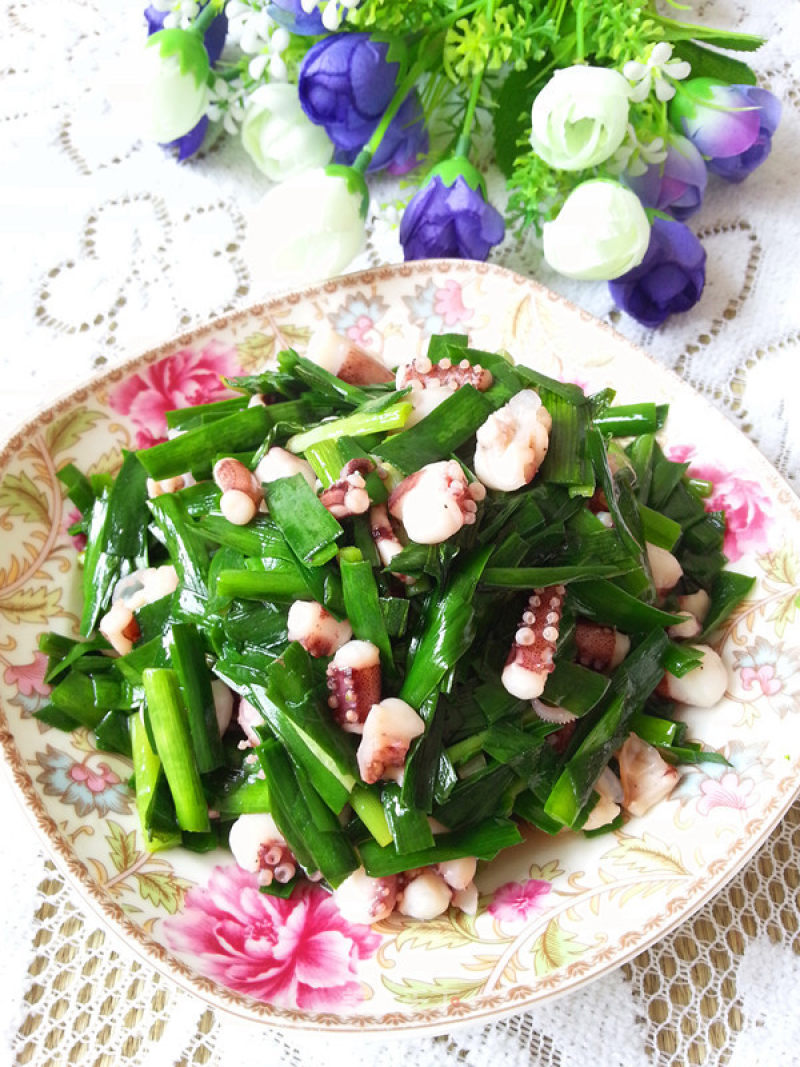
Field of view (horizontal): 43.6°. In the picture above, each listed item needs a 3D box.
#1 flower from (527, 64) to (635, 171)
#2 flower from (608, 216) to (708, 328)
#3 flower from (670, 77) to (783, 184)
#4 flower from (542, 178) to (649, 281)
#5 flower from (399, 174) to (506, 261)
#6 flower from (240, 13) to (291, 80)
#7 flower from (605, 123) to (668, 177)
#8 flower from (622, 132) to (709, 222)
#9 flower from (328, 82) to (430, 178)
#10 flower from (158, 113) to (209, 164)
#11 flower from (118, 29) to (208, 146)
[{"bbox_3d":[0.253,-0.591,1.424,0.146,0.157,0.100,1,38,4],"label":"flower"},{"bbox_3d":[0.435,-0.423,1.625,0.176,0.170,0.090,-3,18,7],"label":"flower"},{"bbox_3d":[0.516,-0.681,1.645,0.212,0.154,0.093,27,96,-3],"label":"flower"},{"bbox_3d":[0.302,-0.481,1.504,0.156,0.114,0.119,-21,43,-31],"label":"flower"},{"bbox_3d":[0.073,-0.485,1.561,0.154,0.170,0.139,-5,15,-12],"label":"flower"},{"bbox_3d":[-0.216,-0.795,1.619,0.095,0.099,0.024,-14,77,44],"label":"flower"},{"bbox_3d":[0.368,-0.611,1.587,0.078,0.071,0.025,-28,53,13],"label":"flower"},{"bbox_3d":[0.469,-0.592,1.692,0.132,0.145,0.087,-4,82,-4],"label":"flower"},{"bbox_3d":[-0.025,-0.709,1.696,0.234,0.180,0.078,1,99,-2],"label":"flower"},{"bbox_3d":[-0.423,-0.776,2.006,0.117,0.026,0.073,-50,55,26],"label":"flower"},{"bbox_3d":[-0.367,-0.741,1.695,0.086,0.112,0.149,-58,30,-2],"label":"flower"}]
